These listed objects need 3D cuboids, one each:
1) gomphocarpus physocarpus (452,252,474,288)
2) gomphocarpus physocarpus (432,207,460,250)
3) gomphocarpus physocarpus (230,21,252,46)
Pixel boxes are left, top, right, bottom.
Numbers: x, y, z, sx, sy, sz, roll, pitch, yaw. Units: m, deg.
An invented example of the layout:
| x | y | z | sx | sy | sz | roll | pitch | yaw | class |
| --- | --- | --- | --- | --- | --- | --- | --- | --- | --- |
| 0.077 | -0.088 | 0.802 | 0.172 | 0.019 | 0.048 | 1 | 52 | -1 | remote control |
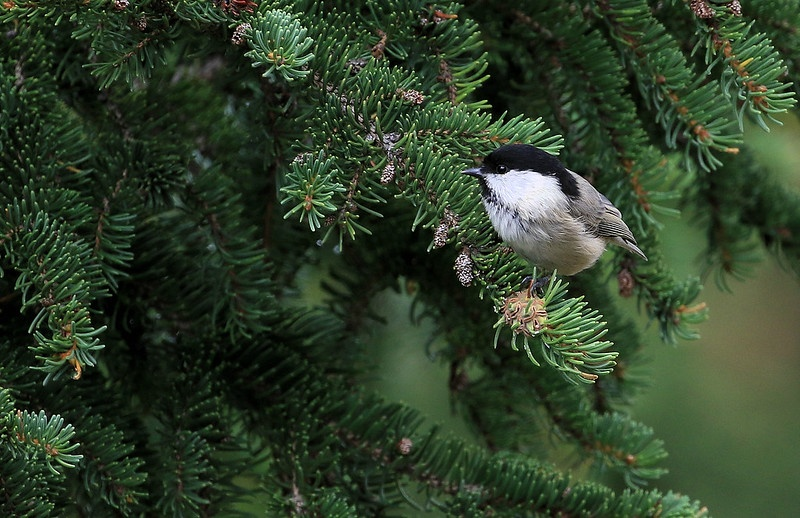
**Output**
| x | y | z | sx | sy | sz | roll | pitch | yaw | class |
| --- | --- | --- | --- | --- | --- | --- | --- | --- | --- |
| 0.339 | 0.051 | 4.586 | 0.087 | 0.181 | 0.094 | -6 | -18 | -25 | gomphocarpus physocarpus |
| 0.248 | -0.163 | 4.563 | 0.082 | 0.271 | 0.081 | 4 | -24 | 43 | gomphocarpus physocarpus |
| -0.794 | -1.141 | 4.436 | 0.078 | 0.111 | 0.064 | 16 | 21 | -29 | gomphocarpus physocarpus |
